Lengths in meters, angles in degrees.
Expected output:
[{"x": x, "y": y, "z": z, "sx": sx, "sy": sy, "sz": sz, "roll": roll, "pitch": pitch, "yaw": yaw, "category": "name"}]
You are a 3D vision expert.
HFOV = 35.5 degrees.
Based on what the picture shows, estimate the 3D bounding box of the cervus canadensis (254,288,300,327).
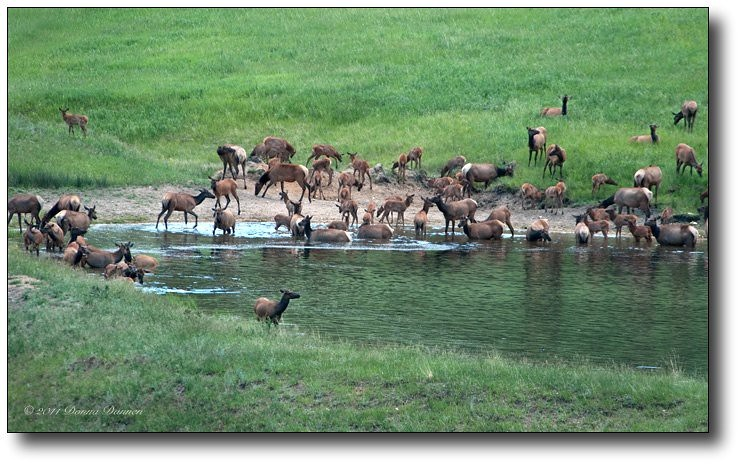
[{"x": -2.700, "y": 2.212, "z": 32.549, "sx": 1.706, "sy": 1.162, "sz": 0.559, "roll": -1, "pitch": -4, "yaw": 40, "category": "cervus canadensis"}]
